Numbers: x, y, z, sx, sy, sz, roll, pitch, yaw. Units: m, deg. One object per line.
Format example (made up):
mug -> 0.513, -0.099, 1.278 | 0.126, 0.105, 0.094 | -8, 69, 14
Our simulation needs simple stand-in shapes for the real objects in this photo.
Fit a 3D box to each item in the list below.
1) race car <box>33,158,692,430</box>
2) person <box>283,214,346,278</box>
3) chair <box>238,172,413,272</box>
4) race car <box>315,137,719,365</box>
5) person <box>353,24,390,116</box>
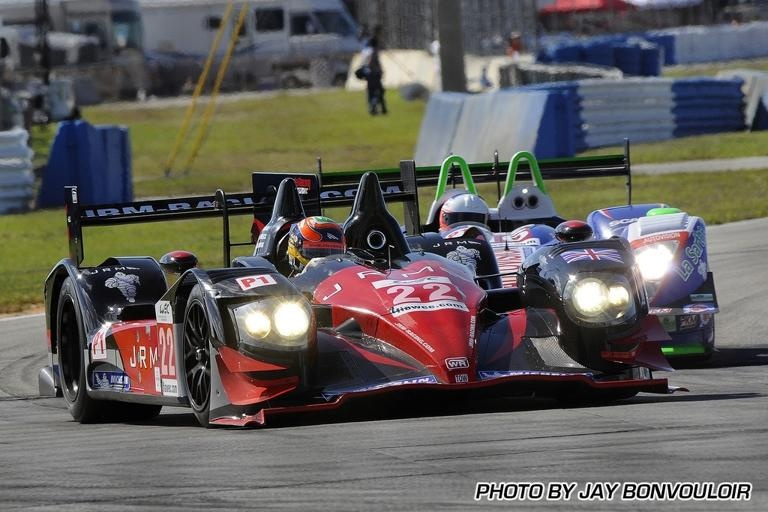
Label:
race car -> -1.063, 0.623, 16.287 | 3.932, 1.435, 4.876 | -3, -2, -20
person -> -0.833, -0.183, 15.903 | 0.624, 0.584, 0.700 | -1, 16, -14
chair -> -1.310, -0.429, 16.544 | 1.680, 1.188, 3.848 | 1, 1, -3
race car -> 1.857, -0.311, 19.662 | 4.714, 2.129, 6.623 | -1, 9, 5
person -> -0.304, -4.148, 32.124 | 0.644, 1.851, 1.238 | -4, 11, 0
